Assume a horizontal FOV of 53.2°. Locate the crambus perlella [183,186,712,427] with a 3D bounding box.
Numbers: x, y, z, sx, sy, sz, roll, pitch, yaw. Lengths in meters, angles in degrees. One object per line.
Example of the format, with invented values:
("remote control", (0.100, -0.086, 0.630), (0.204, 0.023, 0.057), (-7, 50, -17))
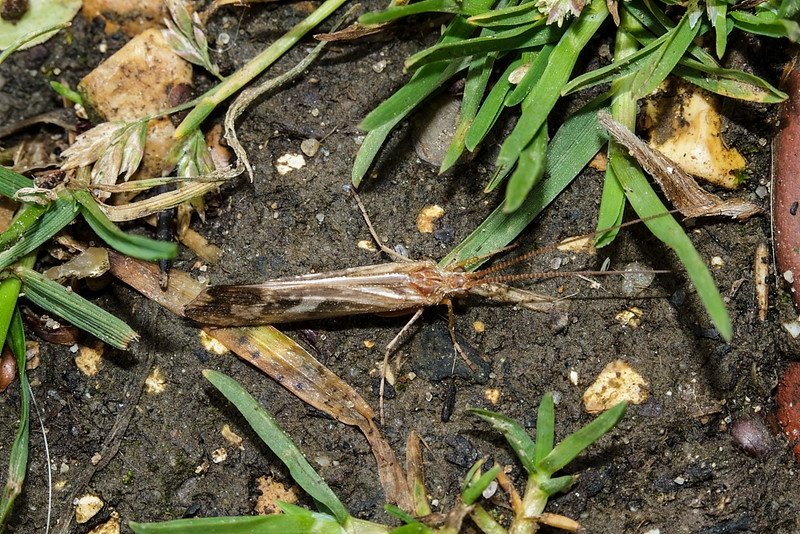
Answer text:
("crambus perlella", (-0.158, 0.224, 4.333), (1.962, 0.480, 0.521), (-8, 58, 7))
